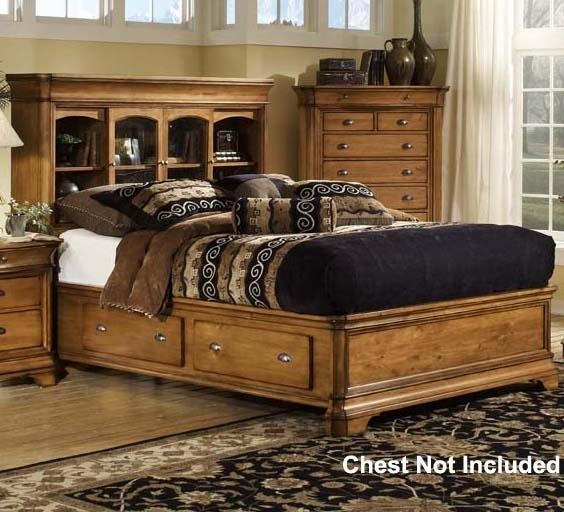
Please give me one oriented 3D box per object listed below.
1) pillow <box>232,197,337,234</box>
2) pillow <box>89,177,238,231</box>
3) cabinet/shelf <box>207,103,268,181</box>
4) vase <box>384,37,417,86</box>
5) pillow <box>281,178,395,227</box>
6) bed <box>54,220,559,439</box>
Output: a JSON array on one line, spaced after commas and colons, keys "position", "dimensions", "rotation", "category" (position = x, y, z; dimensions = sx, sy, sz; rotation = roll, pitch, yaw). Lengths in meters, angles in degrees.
[{"position": [0.056, -0.198, 3.094], "dimensions": [0.564, 0.170, 0.183], "rotation": [3, 14, 33], "category": "pillow"}, {"position": [-0.599, -0.306, 3.551], "dimensions": [0.680, 0.359, 0.166], "rotation": [-12, 19, 41], "category": "pillow"}, {"position": [-0.303, -0.836, 4.797], "dimensions": [0.534, 0.622, 0.238], "rotation": [3, 0, 24], "category": "cabinet/shelf"}, {"position": [1.059, -1.739, 5.451], "dimensions": [0.259, 0.486, 0.528], "rotation": [0, 8, 11], "category": "vase"}, {"position": [0.334, -0.323, 3.687], "dimensions": [0.648, 0.116, 0.574], "rotation": [10, 36, 22], "category": "pillow"}, {"position": [-0.076, 0.220, 3.144], "dimensions": [1.693, 0.515, 1.328], "rotation": [4, 6, 43], "category": "bed"}]
